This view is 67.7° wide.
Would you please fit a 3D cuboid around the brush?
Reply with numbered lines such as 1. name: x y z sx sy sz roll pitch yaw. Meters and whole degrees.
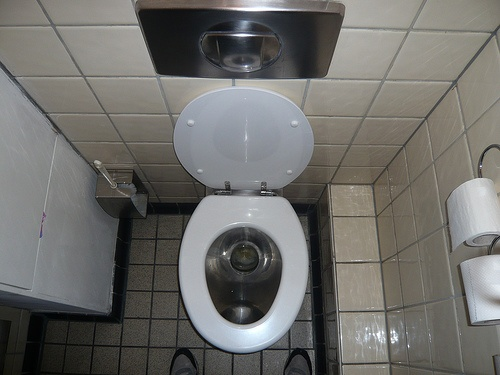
1. brush: -0.682 -0.122 1.911 0.200 0.405 0.234 -2 85 -10

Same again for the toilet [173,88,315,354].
1. toilet: -0.012 0.212 1.641 0.599 0.843 0.937 -3 68 -6
